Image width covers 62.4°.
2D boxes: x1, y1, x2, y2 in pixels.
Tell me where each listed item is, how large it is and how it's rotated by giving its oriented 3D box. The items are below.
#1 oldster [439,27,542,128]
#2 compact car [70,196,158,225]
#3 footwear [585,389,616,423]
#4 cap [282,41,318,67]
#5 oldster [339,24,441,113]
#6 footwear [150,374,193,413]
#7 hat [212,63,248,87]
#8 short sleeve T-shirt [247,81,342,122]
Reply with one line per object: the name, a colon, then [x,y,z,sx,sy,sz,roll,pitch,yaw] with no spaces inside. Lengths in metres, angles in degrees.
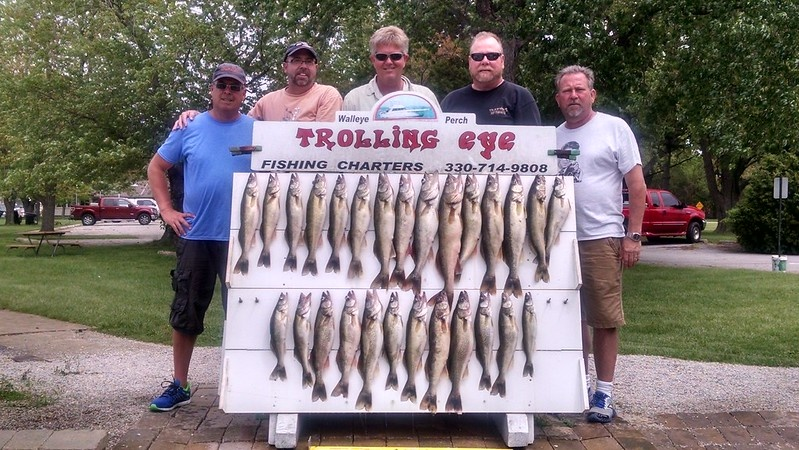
oldster: [1.409,-2.239,10.314,1.747,1.419,0.846,4,5,26]
compact car: [-21.406,-0.915,49.630,5.493,2.044,2.710,-3,13,-18]
footwear: [2.948,2.650,9.629,0.382,0.408,0.257,4,13,16]
cap: [-1.526,-2.669,10.231,0.465,0.303,0.558,0,12,-1]
oldster: [-0.122,-2.305,10.394,1.681,1.471,0.789,1,8,4]
footwear: [-3.419,2.561,9.776,0.294,0.343,0.787,-5,-10,29]
hat: [-2.529,-2.233,9.852,0.434,0.321,0.362,-1,12,-5]
short sleeve T-shirt: [-1.587,-1.808,10.342,1.519,0.875,0.793,3,0,14]
